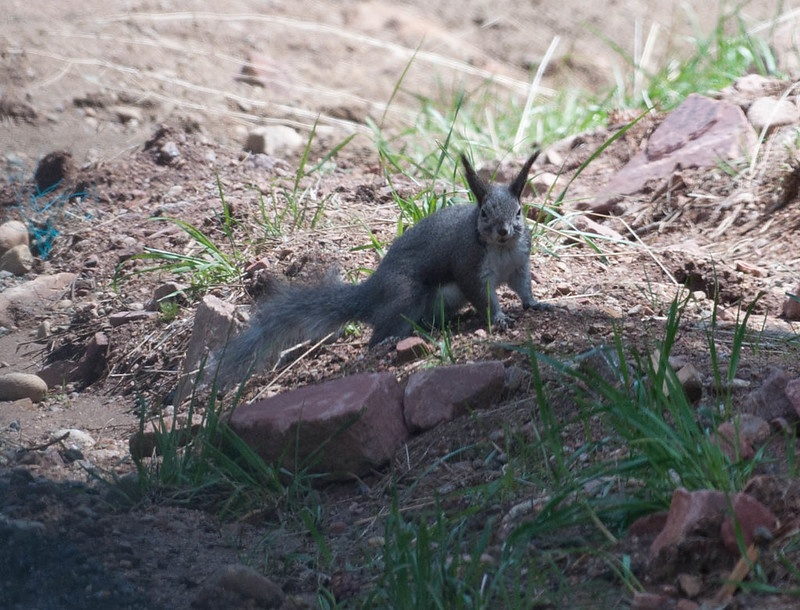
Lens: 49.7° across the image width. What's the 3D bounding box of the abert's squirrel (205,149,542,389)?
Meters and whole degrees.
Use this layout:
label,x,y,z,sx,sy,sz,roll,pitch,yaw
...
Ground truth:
label,x,y,z,sx,sy,sz,roll,pitch,yaw
abert's squirrel,-0.055,-0.072,6.017,1.661,1.774,2.025,-14,16,-29
